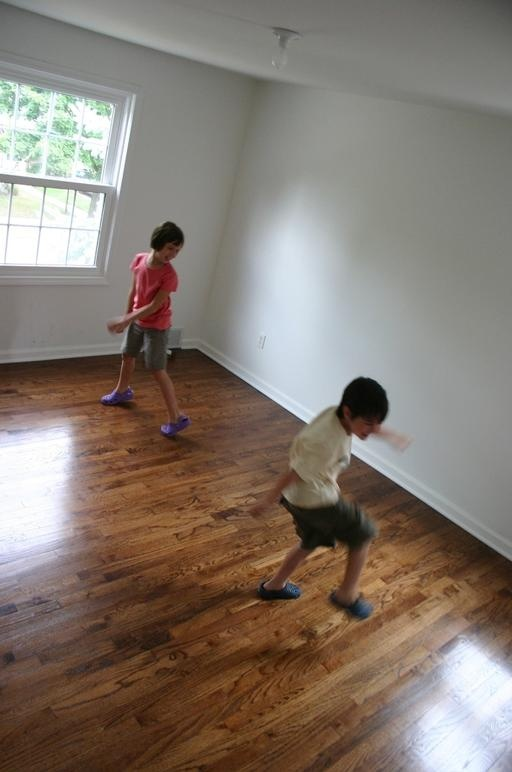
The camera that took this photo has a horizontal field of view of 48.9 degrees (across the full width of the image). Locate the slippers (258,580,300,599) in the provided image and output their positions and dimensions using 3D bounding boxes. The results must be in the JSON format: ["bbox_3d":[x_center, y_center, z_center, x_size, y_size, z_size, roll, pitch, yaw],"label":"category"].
[{"bbox_3d":[0.102,0.867,2.405,0.192,0.076,0.074,-2,20,-12],"label":"slippers"}]

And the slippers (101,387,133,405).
[{"bbox_3d":[-0.899,0.066,3.736,0.214,0.094,0.085,-13,42,-28],"label":"slippers"}]

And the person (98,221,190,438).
[{"bbox_3d":[-0.570,-0.329,3.349,0.542,1.243,0.690,13,15,-11],"label":"person"}]

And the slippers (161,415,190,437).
[{"bbox_3d":[-0.495,0.254,3.513,0.101,0.173,0.071,54,9,16],"label":"slippers"}]

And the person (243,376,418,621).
[{"bbox_3d":[0.296,0.427,2.129,0.532,0.949,0.347,3,19,4],"label":"person"}]
